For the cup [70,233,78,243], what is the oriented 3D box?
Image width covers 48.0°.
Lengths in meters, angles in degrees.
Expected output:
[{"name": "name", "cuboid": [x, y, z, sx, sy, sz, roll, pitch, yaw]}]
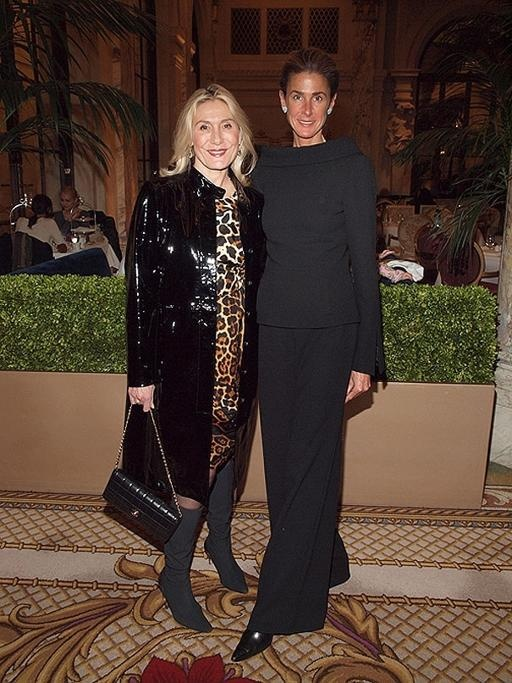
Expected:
[{"name": "cup", "cuboid": [-1.698, -0.969, 5.358, 0.076, 0.090, 0.035, 8, -17, -39]}]

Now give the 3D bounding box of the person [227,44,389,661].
[{"name": "person", "cuboid": [0.162, 0.171, 1.621, 0.394, 1.422, 0.345, 2, 10, 2]}]

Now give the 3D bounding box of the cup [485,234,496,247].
[{"name": "cup", "cuboid": [2.239, -0.957, 5.501, 0.083, 0.080, 0.220, 3, 15, 15]}]
